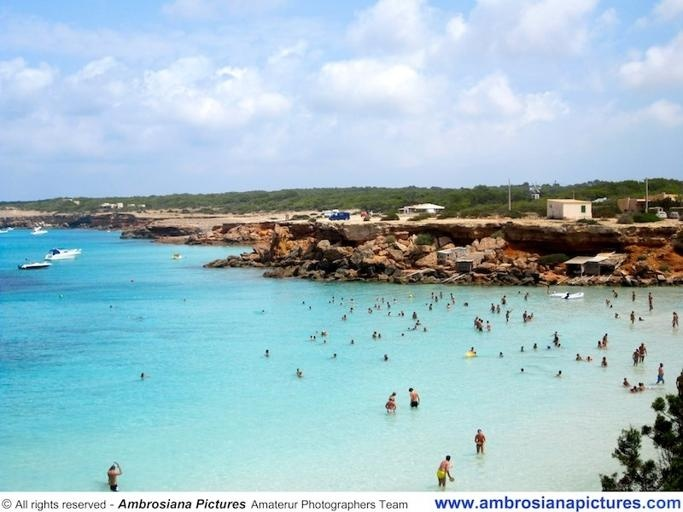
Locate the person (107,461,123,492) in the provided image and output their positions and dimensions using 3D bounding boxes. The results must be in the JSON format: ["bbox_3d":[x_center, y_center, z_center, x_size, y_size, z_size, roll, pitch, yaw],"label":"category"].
[{"bbox_3d":[-11.111,10.658,31.290,0.680,0.972,1.963,-6,10,-19],"label":"person"}]

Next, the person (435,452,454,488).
[{"bbox_3d":[5.032,10.231,30.856,0.887,1.165,1.732,-1,10,8],"label":"person"}]
